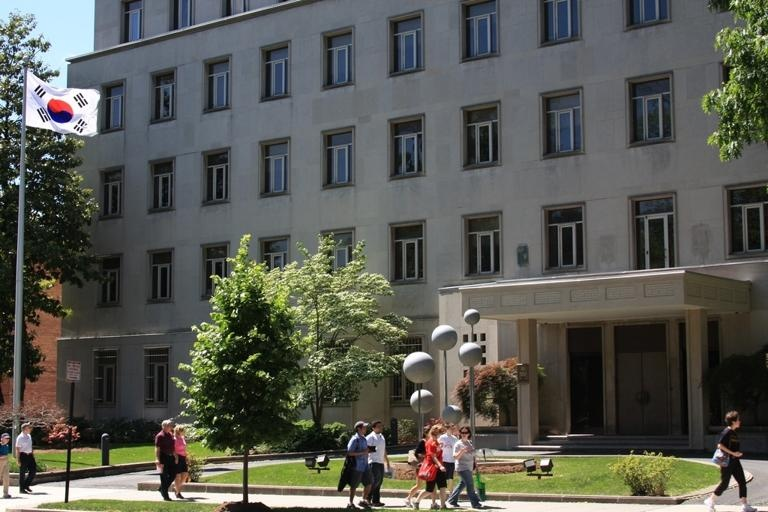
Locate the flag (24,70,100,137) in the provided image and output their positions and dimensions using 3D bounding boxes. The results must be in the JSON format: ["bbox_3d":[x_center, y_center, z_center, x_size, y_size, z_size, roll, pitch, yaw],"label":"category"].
[{"bbox_3d":[-15.419,-7.319,58.805,3.358,3.350,0.950,-3,-12,4],"label":"flag"}]

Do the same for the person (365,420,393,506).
[{"bbox_3d":[-0.308,7.282,43.414,1.068,2.632,0.882,-3,-6,32],"label":"person"}]
